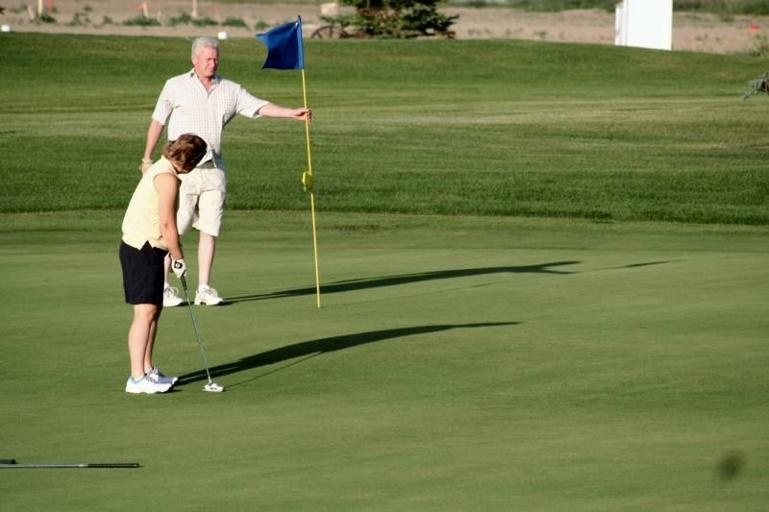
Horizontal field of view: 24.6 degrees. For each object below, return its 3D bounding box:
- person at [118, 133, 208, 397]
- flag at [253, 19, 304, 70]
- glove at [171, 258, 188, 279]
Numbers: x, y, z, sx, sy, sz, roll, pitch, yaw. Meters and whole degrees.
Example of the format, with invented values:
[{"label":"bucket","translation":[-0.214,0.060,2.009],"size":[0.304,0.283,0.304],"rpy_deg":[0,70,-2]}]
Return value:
[{"label":"person","translation":[-2.732,0.091,21.197],"size":[0.901,3.105,0.606],"rpy_deg":[-2,13,-13]},{"label":"flag","translation":[-1.451,-2.886,24.048],"size":[0.715,0.680,0.159],"rpy_deg":[6,15,25]},{"label":"glove","translation":[-2.502,0.138,21.289],"size":[0.197,0.214,0.236],"rpy_deg":[-1,2,-7]}]
